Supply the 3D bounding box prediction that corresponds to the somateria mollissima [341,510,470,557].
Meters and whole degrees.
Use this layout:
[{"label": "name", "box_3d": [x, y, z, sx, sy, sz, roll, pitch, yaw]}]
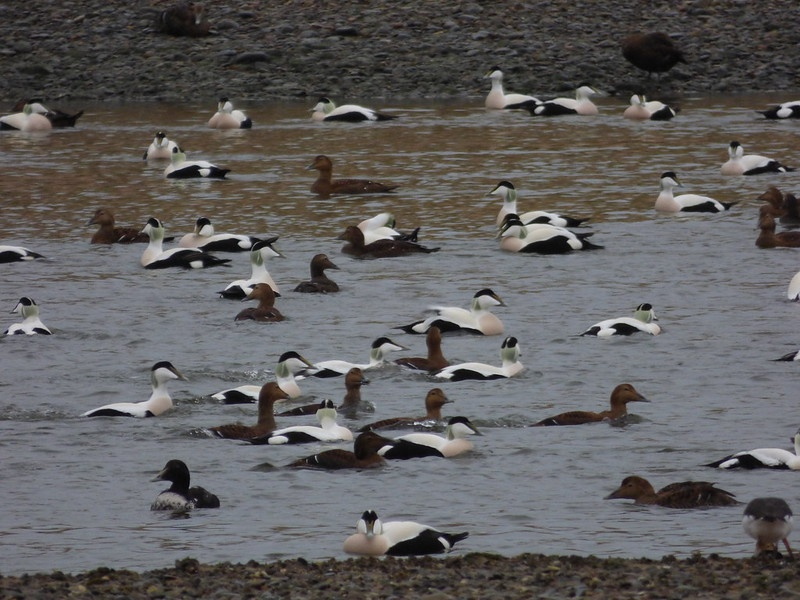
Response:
[{"label": "somateria mollissima", "box_3d": [0.103, 2.685, 15.653, 0.616, 1.424, 0.331, 1, 87, 51]}]
